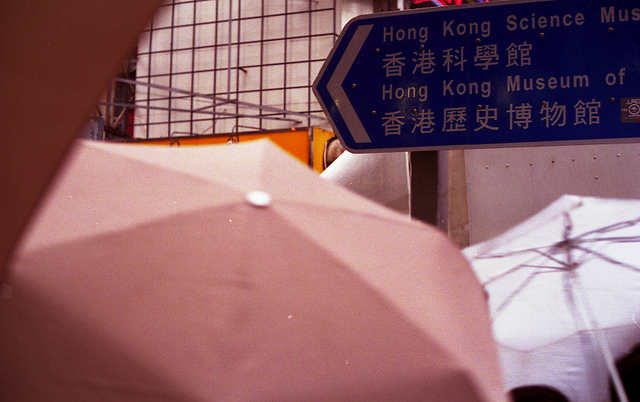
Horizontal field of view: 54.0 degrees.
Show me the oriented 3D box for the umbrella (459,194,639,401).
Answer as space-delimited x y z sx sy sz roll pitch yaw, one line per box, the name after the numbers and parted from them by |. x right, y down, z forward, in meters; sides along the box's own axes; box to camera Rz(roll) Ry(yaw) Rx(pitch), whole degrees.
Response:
1.451 0.622 3.977 1.188 0.978 1.275 180 87 -86 | umbrella

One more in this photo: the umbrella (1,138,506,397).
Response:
-0.389 0.384 2.842 1.596 1.472 0.548 -96 15 -61 | umbrella
